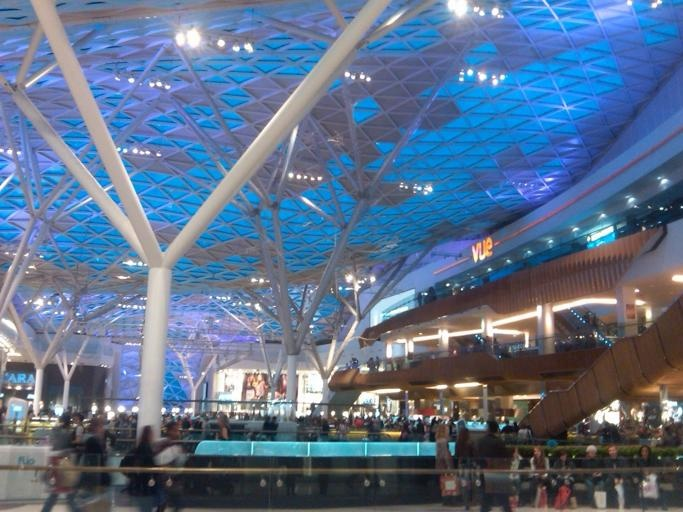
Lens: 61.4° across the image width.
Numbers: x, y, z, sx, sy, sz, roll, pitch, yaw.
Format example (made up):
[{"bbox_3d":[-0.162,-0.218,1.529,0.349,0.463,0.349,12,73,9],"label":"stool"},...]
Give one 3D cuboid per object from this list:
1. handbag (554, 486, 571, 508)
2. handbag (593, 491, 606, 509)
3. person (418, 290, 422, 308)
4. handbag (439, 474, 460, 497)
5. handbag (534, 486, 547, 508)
[{"bbox_3d":[4.495,4.904,11.722,0.309,0.437,0.128,8,-25,15],"label":"handbag"},{"bbox_3d":[5.278,4.945,11.731,0.279,0.345,0.080,-4,-21,6],"label":"handbag"},{"bbox_3d":[7.324,3.968,53.255,0.517,1.370,1.214,-3,-20,5],"label":"person"},{"bbox_3d":[2.216,4.702,11.908,0.508,0.384,0.451,0,-11,-7],"label":"handbag"},{"bbox_3d":[4.051,4.885,11.708,0.266,0.367,0.110,4,-1,-1],"label":"handbag"}]
